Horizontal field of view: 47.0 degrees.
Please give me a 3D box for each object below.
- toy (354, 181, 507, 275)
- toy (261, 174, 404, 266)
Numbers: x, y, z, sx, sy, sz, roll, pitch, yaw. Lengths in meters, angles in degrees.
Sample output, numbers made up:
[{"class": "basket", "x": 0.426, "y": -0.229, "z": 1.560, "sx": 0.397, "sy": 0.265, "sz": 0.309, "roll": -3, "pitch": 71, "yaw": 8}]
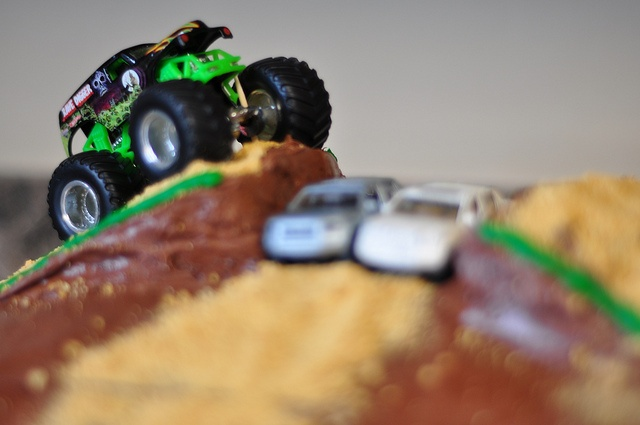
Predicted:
[{"class": "toy", "x": 0.571, "y": 0.007, "z": 4.332, "sx": 0.414, "sy": 0.350, "sz": 0.963, "roll": 7, "pitch": 25, "yaw": 23}, {"class": "toy", "x": 0.004, "y": 0.007, "z": 4.542, "sx": 0.385, "sy": 0.362, "sz": 0.893, "roll": -2, "pitch": 6, "yaw": 22}]
